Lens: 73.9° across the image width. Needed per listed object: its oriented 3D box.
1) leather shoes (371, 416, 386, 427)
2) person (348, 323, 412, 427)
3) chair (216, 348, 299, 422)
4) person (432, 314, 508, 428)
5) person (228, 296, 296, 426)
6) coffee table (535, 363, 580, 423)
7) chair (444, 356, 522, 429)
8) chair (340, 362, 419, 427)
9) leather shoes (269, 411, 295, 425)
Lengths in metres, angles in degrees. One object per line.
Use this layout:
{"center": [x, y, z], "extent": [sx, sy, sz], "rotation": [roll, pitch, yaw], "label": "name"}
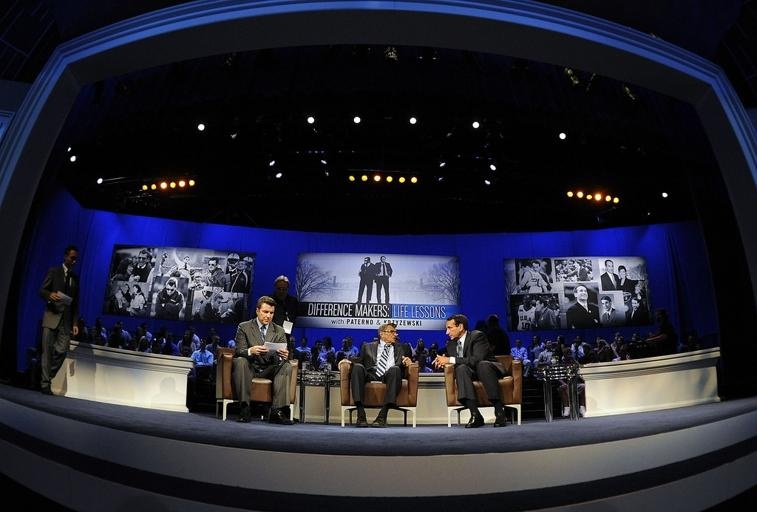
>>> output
{"center": [0.006, 1.838, 5.585], "extent": [0.144, 0.113, 0.171], "rotation": [1, 15, -3], "label": "leather shoes"}
{"center": [0.036, 1.438, 6.161], "extent": [0.706, 1.434, 0.811], "rotation": [-4, -29, 16], "label": "person"}
{"center": [-1.382, 1.478, 5.859], "extent": [0.788, 0.798, 0.632], "rotation": [7, -16, -10], "label": "chair"}
{"center": [1.051, 1.304, 5.812], "extent": [0.716, 1.327, 0.715], "rotation": [5, -33, -18], "label": "person"}
{"center": [-1.273, 1.358, 5.531], "extent": [0.622, 1.279, 0.859], "rotation": [-3, 15, -18], "label": "person"}
{"center": [2.253, 1.773, 6.438], "extent": [0.577, 0.612, 0.612], "rotation": [5, -3, -22], "label": "coffee table"}
{"center": [1.301, 1.619, 6.248], "extent": [0.880, 0.847, 0.728], "rotation": [-3, -14, 7], "label": "chair"}
{"center": [-0.008, 1.661, 6.495], "extent": [0.950, 0.894, 0.977], "rotation": [2, -27, -2], "label": "chair"}
{"center": [-1.039, 1.741, 5.418], "extent": [0.239, 0.111, 0.132], "rotation": [3, -8, 8], "label": "leather shoes"}
